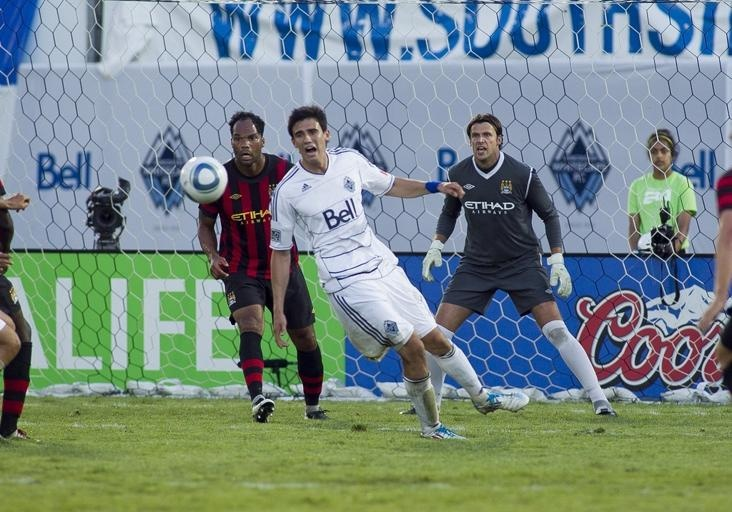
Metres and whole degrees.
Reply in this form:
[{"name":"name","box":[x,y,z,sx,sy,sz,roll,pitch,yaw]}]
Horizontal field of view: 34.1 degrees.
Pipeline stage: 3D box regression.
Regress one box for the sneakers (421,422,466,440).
[{"name":"sneakers","box":[0.601,1.373,9.438,0.366,0.154,0.127,1,-3,0]}]

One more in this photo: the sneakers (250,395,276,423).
[{"name":"sneakers","box":[-0.861,1.280,10.043,0.113,0.149,0.306,0,-29,-21]}]

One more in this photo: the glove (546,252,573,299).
[{"name":"glove","box":[1.698,0.165,10.530,0.240,0.386,0.187,-22,11,16]}]

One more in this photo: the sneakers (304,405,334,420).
[{"name":"sneakers","box":[-0.399,1.352,10.346,0.253,0.112,0.088,0,0,5]}]

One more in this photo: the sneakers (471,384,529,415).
[{"name":"sneakers","box":[1.121,1.215,10.089,0.468,0.264,0.172,-11,27,-7]}]

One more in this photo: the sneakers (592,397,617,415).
[{"name":"sneakers","box":[2.079,1.300,10.389,0.206,0.149,0.180,1,7,9]}]

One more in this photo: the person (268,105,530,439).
[{"name":"person","box":[-0.038,0.123,9.406,1.421,2.575,0.592,0,7,-2]}]

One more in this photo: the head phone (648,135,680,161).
[{"name":"head phone","box":[2.954,-1.129,11.820,0.228,0.106,0.280,1,-32,23]}]
